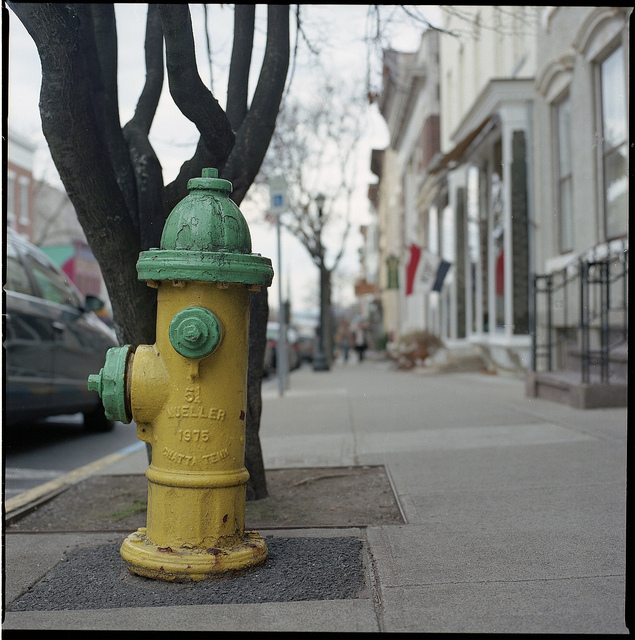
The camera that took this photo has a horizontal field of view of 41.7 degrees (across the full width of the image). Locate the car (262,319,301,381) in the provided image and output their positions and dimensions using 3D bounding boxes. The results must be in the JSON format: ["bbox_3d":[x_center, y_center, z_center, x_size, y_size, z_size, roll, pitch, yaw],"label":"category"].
[{"bbox_3d":[-0.921,0.801,20.625,0.726,0.880,1.966,0,5,7],"label":"car"}]

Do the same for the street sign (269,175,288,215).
[{"bbox_3d":[-0.387,-1.308,8.754,0.192,0.487,0.256,0,-3,14],"label":"street sign"}]
